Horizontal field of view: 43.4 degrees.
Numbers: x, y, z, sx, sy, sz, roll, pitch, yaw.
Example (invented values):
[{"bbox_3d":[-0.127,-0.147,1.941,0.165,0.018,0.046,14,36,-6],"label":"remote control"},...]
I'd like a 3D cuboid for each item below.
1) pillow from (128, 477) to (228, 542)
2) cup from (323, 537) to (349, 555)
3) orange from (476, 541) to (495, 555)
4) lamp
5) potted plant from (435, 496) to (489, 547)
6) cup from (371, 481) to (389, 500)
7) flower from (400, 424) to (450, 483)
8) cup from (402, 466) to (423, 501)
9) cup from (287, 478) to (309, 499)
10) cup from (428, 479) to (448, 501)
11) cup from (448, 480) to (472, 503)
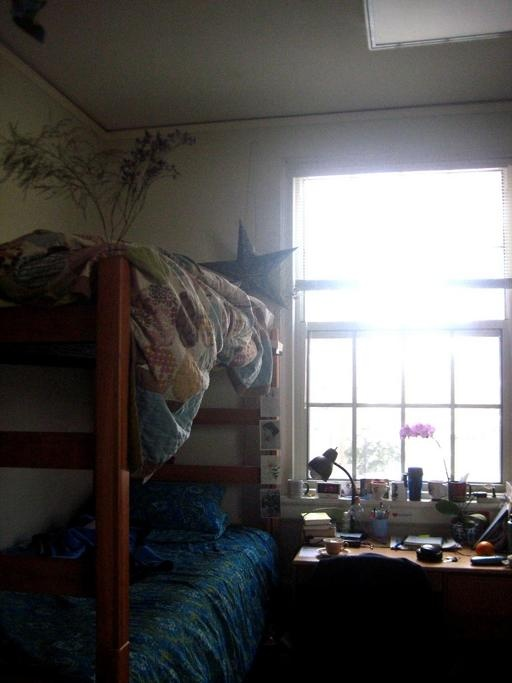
[{"bbox_3d":[-0.408,0.758,3.065,0.433,0.121,0.416,0,15,11],"label":"pillow"},{"bbox_3d":[0.348,0.883,2.780,0.068,0.052,0.078,-6,-16,29],"label":"cup"},{"bbox_3d":[0.985,0.886,2.767,0.054,0.053,0.057,-7,-14,23],"label":"orange"},{"bbox_3d":[0.382,0.700,3.140,0.251,0.380,0.467,2,-3,5],"label":"lamp"},{"bbox_3d":[0.957,0.817,2.999,0.239,0.210,0.198,0,1,-11],"label":"potted plant"},{"bbox_3d":[0.607,0.725,3.139,0.086,0.094,0.065,1,-4,25],"label":"cup"},{"bbox_3d":[0.842,0.543,3.183,0.245,0.285,0.181,1,-3,14],"label":"flower"},{"bbox_3d":[0.778,0.691,3.138,0.093,0.163,0.092,2,-3,0],"label":"cup"},{"bbox_3d":[0.222,0.749,3.290,0.122,0.090,0.102,2,-3,-3],"label":"cup"},{"bbox_3d":[0.882,0.718,3.110,0.097,0.084,0.053,1,-4,22],"label":"cup"},{"bbox_3d":[0.969,0.704,3.034,0.113,0.094,0.082,1,-3,16],"label":"cup"}]
